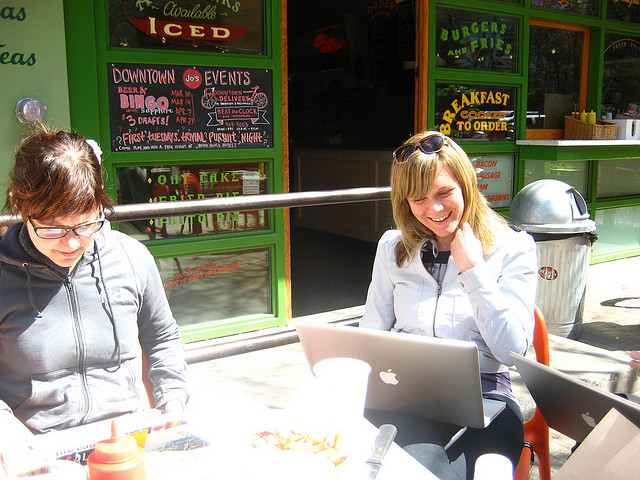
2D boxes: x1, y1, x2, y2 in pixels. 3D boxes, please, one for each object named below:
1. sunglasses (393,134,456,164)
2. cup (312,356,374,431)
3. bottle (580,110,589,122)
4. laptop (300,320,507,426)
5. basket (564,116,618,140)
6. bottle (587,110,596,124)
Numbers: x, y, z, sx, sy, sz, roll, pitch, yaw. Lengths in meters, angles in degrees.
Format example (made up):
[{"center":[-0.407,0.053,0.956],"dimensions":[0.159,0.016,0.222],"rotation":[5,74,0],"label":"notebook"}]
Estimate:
[{"center":[0.383,-0.354,1.793],"dimensions":[0.191,0.109,0.066],"rotation":[1,16,13],"label":"sunglasses"},{"center":[0.045,0.333,1.078],"dimensions":[0.149,0.153,0.152],"rotation":[-1,2,0],"label":"cup"},{"center":[3.157,-1.468,5.492],"dimensions":[0.079,0.106,0.137],"rotation":[4,17,24],"label":"bottle"},{"center":[0.262,0.383,1.334],"dimensions":[0.410,0.258,0.374],"rotation":[5,10,26],"label":"laptop"},{"center":[3.164,-1.295,5.495],"dimensions":[0.364,0.286,0.577],"rotation":[-9,17,-39],"label":"basket"},{"center":[3.241,-1.452,5.472],"dimensions":[0.090,0.132,0.140],"rotation":[6,18,30],"label":"bottle"}]
